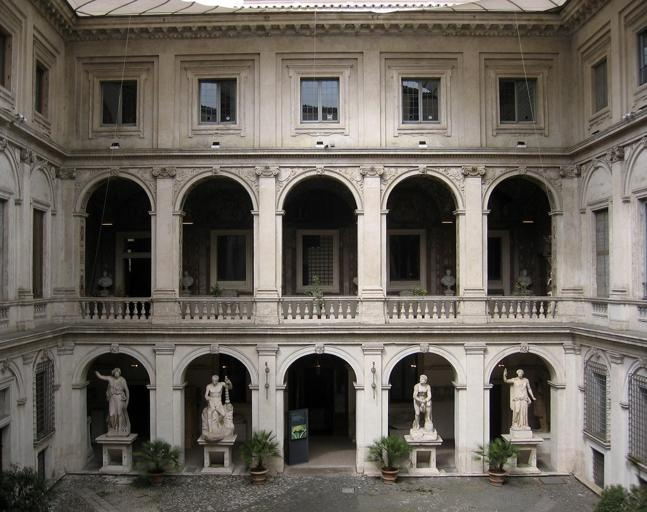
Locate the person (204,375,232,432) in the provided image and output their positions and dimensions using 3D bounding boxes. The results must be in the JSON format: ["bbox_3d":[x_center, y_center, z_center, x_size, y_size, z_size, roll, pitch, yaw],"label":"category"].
[{"bbox_3d":[-3.553,4.940,31.863,0.927,2.310,0.507,0,20,-3],"label":"person"}]

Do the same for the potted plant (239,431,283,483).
[{"bbox_3d":[-2.161,6.617,31.419,1.323,1.683,1.371,11,-23,-43],"label":"potted plant"}]

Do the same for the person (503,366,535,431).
[{"bbox_3d":[6.510,4.703,31.940,1.002,2.015,0.925,1,4,6],"label":"person"}]

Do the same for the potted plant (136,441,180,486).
[{"bbox_3d":[-5.472,6.795,31.436,1.140,1.518,1.295,1,-8,-12],"label":"potted plant"}]

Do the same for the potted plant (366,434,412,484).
[{"bbox_3d":[2.191,6.715,31.373,1.134,1.316,1.161,-18,-42,37],"label":"potted plant"}]

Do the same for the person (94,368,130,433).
[{"bbox_3d":[-6.969,4.801,32.045,0.906,2.209,0.630,0,4,-8],"label":"person"}]

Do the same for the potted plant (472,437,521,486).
[{"bbox_3d":[5.779,6.638,31.257,1.108,1.427,1.271,3,-2,35],"label":"potted plant"}]
